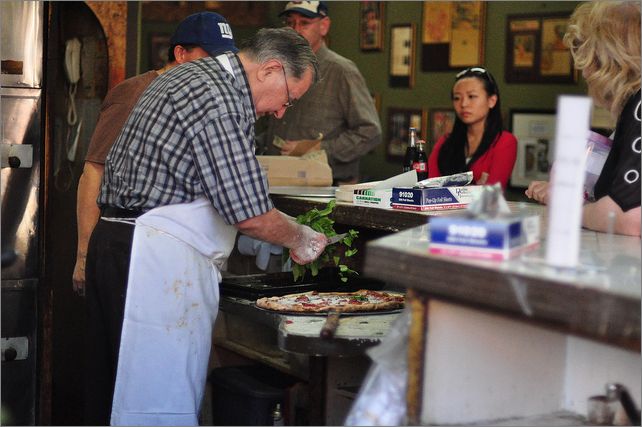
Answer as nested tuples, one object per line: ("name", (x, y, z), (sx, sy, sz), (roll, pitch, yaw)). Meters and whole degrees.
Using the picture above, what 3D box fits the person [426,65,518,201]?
("person", (0.975, -0.501, 4.559), (0.569, 0.940, 0.709), (2, -3, -16))

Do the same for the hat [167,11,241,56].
("hat", (-0.617, -0.965, 3.794), (0.404, 0.225, 0.276), (4, 9, 11))

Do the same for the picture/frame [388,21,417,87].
("picture/frame", (0.761, -1.507, 6.456), (0.042, 0.573, 0.310), (-11, 17, -39))

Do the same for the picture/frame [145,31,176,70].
("picture/frame", (-1.636, -1.665, 7.304), (0.350, 0.523, 0.051), (-1, -20, -12))
